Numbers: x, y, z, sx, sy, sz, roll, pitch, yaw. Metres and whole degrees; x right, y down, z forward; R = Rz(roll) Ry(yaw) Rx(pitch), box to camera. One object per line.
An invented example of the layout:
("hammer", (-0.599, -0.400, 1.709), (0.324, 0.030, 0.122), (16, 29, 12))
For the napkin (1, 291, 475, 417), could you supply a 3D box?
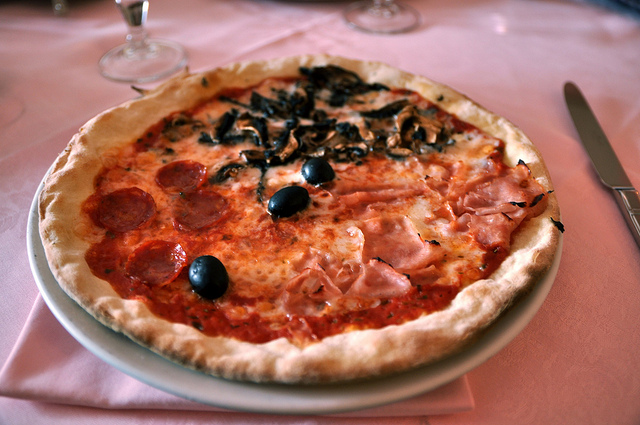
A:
("napkin", (-0.352, 0.737, 2.504), (1.986, 0.244, 0.442), (7, 54, 9))
